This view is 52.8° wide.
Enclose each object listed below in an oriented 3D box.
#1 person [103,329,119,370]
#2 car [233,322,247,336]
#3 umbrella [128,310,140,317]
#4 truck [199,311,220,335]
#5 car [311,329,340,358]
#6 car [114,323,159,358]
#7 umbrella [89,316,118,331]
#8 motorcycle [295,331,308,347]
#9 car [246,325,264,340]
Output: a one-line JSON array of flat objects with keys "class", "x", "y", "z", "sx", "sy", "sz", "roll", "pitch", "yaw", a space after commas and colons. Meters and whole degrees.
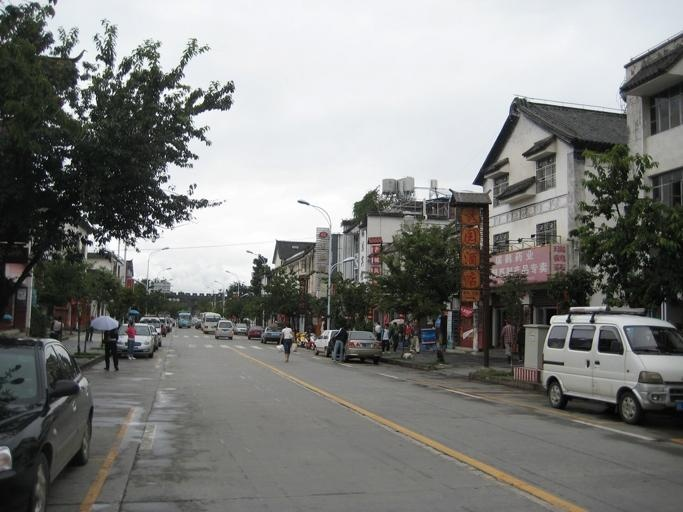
[{"class": "person", "x": -9.108, "y": 3.687, "z": 27.254, "sx": 0.540, "sy": 1.704, "sz": 2.286, "roll": 4, "pitch": -10, "yaw": -18}, {"class": "car", "x": -12.419, "y": 8.997, "z": 84.808, "sx": 1.102, "sy": 0.989, "sz": 2.176, "roll": 2, "pitch": -6, "yaw": -16}, {"class": "umbrella", "x": -19.489, "y": 5.305, "z": 64.376, "sx": 1.181, "sy": 0.509, "sz": 1.249, "roll": 2, "pitch": -4, "yaw": 17}, {"class": "truck", "x": -16.187, "y": 8.197, "z": 85.567, "sx": 2.499, "sy": 2.721, "sz": 5.611, "roll": 3, "pitch": -8, "yaw": -17}, {"class": "car", "x": -0.945, "y": 5.023, "z": 40.082, "sx": 1.010, "sy": 0.993, "sz": 1.806, "roll": 1, "pitch": -2, "yaw": -16}, {"class": "car", "x": -10.251, "y": 4.206, "z": 34.106, "sx": 1.553, "sy": 1.326, "sz": 3.665, "roll": 1, "pitch": -10, "yaw": -12}, {"class": "umbrella", "x": -9.762, "y": 2.739, "z": 28.233, "sx": 0.982, "sy": 0.787, "sz": 3.014, "roll": 5, "pitch": -12, "yaw": -19}, {"class": "motorcycle", "x": -3.185, "y": 6.642, "z": 54.219, "sx": 0.880, "sy": 1.339, "sz": 1.174, "roll": 6, "pitch": -7, "yaw": -42}, {"class": "car", "x": -8.759, "y": 7.800, "z": 69.541, "sx": 1.132, "sy": 0.982, "sz": 2.818, "roll": 0, "pitch": 0, "yaw": -8}]
